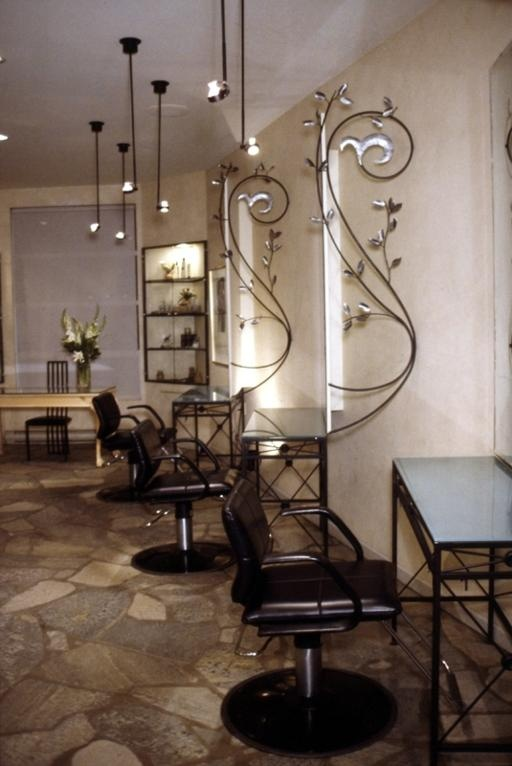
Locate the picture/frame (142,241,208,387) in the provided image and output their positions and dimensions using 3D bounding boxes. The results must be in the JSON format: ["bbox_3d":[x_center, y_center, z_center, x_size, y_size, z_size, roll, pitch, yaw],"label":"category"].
[{"bbox_3d":[-0.849,-0.710,7.056,0.213,1.441,1.135,-5,6,-35],"label":"picture/frame"}]

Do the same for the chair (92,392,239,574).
[{"bbox_3d":[-0.467,0.522,4.183,1.080,1.280,0.888,1,3,-4],"label":"chair"}]

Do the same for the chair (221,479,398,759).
[{"bbox_3d":[0.162,0.693,2.441,0.730,0.867,0.785,0,4,3],"label":"chair"}]

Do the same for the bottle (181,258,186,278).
[{"bbox_3d":[-0.746,-1.165,6.937,0.021,0.191,0.075,-6,7,-42],"label":"bottle"}]

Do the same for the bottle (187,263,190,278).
[{"bbox_3d":[-0.686,-1.130,6.883,0.012,0.137,0.062,-6,7,-42],"label":"bottle"}]

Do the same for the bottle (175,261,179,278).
[{"bbox_3d":[-0.822,-1.152,6.994,0.067,0.162,0.027,3,7,42],"label":"bottle"}]
